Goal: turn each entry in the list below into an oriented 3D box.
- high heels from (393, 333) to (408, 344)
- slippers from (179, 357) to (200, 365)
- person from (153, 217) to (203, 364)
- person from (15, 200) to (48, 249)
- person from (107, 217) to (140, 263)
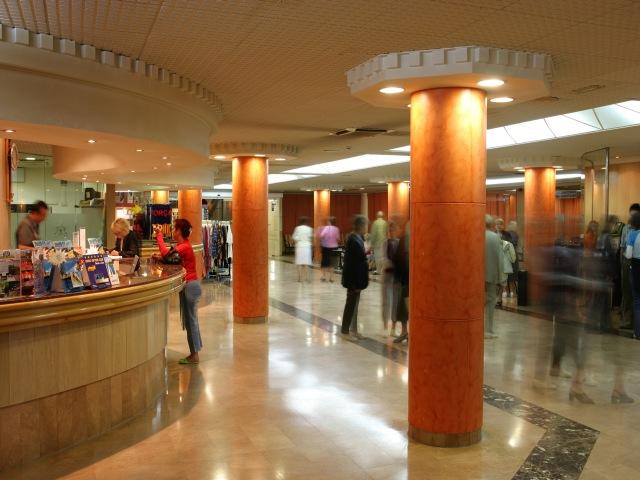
[{"bbox_3d":[1.410,1.724,8.225,0.244,0.161,0.237,1,3,7],"label":"high heels"},{"bbox_3d":[-1.986,1.811,7.064,0.246,0.088,0.124,4,-2,4],"label":"slippers"},{"bbox_3d":[-2.047,0.767,7.006,0.527,2.194,1.054,-1,4,-25],"label":"person"},{"bbox_3d":[-4.730,-0.283,7.652,0.419,0.761,0.855,-2,4,-33],"label":"person"},{"bbox_3d":[-3.482,-0.060,8.372,0.454,0.699,0.817,-1,3,-20],"label":"person"}]
